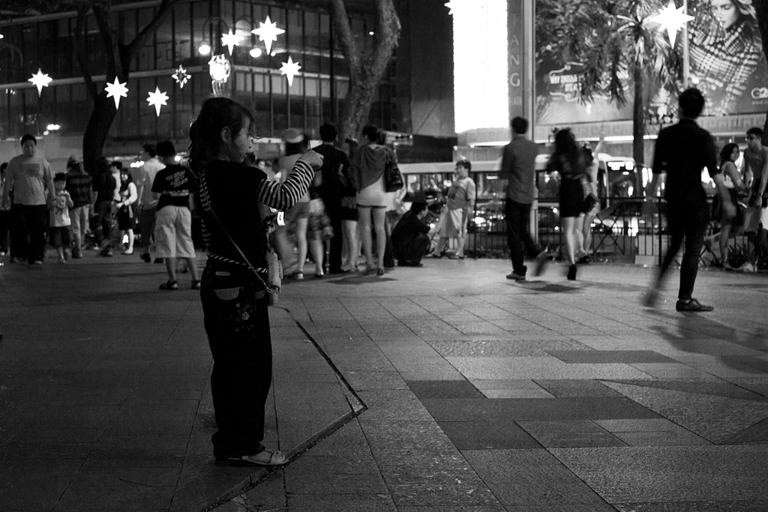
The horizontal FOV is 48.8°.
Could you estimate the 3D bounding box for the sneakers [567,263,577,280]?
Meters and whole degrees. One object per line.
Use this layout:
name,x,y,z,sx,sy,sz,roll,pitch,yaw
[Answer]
sneakers,3.189,0.253,14.326,0.159,0.283,0.380,0,7,8

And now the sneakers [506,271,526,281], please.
sneakers,2.240,0.343,14.396,0.339,0.180,0.140,8,7,34

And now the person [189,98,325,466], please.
person,-0.814,0.138,5.132,0.689,2.165,0.451,-1,6,-4

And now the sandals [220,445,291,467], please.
sandals,-0.778,1.199,5.049,0.371,0.110,0.156,0,20,0

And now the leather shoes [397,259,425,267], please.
leather shoes,0.570,0.143,17.829,0.566,0.270,0.185,-3,5,3

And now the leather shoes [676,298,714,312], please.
leather shoes,3.808,0.604,10.280,0.467,0.190,0.178,-1,3,-8

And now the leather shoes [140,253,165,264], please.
leather shoes,-4.860,0.053,17.656,0.219,0.284,0.661,1,9,-38

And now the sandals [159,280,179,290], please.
sandals,-3.305,0.427,12.966,0.281,0.162,0.287,-3,8,-16
